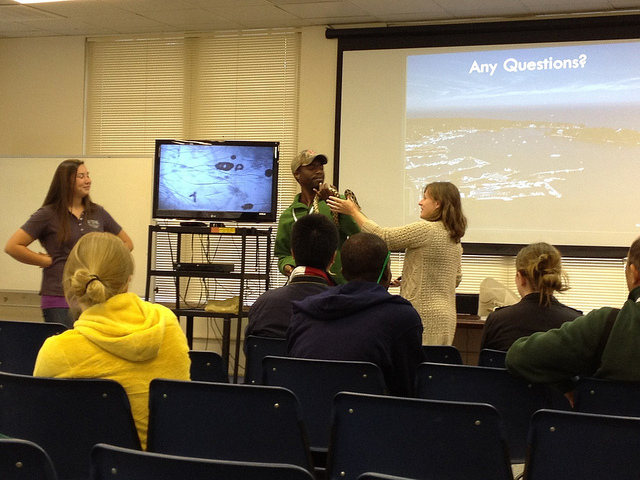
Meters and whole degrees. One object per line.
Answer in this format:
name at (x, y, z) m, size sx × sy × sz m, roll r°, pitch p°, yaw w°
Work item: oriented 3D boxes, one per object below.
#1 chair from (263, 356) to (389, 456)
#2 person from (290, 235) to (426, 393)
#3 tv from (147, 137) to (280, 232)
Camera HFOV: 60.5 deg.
chair at (0.022, 0.612, 2.165) m, size 0.401 × 0.553 × 0.400 m, roll 2°, pitch 2°, yaw 21°
person at (0.145, 0.380, 2.228) m, size 0.515 × 0.738 × 0.466 m, roll -5°, pitch -7°, yaw 42°
tv at (-0.979, -0.504, 5.078) m, size 0.932 × 0.632 × 0.095 m, roll 1°, pitch -1°, yaw 4°
